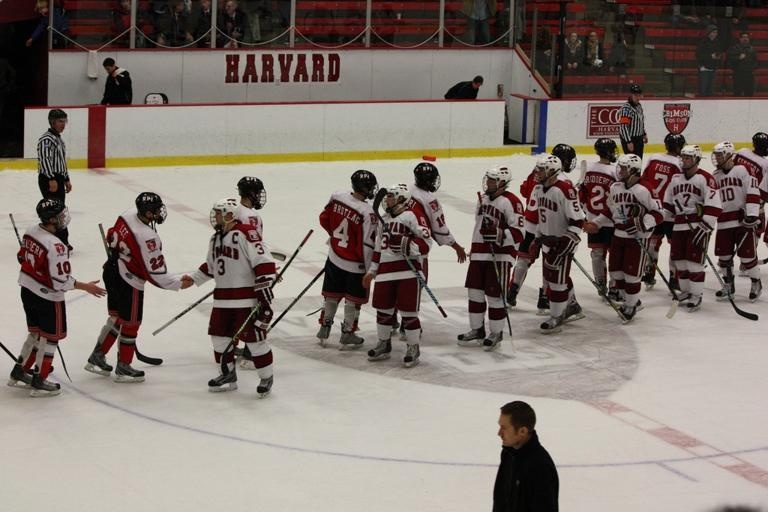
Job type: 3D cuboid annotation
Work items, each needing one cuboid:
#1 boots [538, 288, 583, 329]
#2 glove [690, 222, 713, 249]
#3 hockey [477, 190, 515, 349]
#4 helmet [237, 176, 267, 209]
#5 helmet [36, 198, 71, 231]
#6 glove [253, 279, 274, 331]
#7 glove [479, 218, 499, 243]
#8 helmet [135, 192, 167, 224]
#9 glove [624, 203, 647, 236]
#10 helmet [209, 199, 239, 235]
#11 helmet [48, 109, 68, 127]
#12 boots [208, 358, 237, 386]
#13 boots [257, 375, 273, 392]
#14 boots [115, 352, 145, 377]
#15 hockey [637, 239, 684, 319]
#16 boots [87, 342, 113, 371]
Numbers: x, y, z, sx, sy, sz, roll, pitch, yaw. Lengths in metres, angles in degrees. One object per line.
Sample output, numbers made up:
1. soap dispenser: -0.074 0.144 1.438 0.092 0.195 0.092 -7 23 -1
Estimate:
1. boots: 2.166 0.664 10.126 0.270 0.426 0.764 -2 13 45
2. glove: 3.956 -0.252 10.579 0.326 0.277 0.219 5 27 -8
3. hockey: 1.297 0.345 9.416 0.215 1.406 0.074 -19 0 23
4. helmet: -1.381 -0.651 8.869 0.268 0.328 0.292 2 7 -10
5. helmet: -3.098 -0.407 8.122 0.358 0.302 0.269 -6 19 -27
6. glove: -1.129 0.466 8.008 0.182 0.515 0.230 2 7 -8
7. glove: 1.146 -0.277 9.255 0.102 0.246 0.191 -10 -12 17
8. helmet: -2.247 -0.484 8.373 0.362 0.314 0.260 -7 19 -30
9. glove: 3.012 -0.435 10.227 0.258 0.323 0.089 0 -2 38
10. helmet: -1.564 -0.391 8.102 0.361 0.306 0.262 2 7 2
11. helmet: -4.448 -1.889 11.605 0.200 0.214 0.304 -1 7 -28
12. boots: -1.578 1.151 8.320 0.267 0.282 0.280 2 7 -8
13. boots: -1.155 1.240 8.253 0.143 0.185 0.184 2 7 -10
14. boots: -2.526 1.085 8.486 0.297 0.282 0.235 1 7 -17
15. hockey: 3.576 0.331 11.017 0.187 1.087 0.091 -26 14 -6
16. boots: -2.859 1.035 8.546 0.260 0.332 0.205 1 7 -17
